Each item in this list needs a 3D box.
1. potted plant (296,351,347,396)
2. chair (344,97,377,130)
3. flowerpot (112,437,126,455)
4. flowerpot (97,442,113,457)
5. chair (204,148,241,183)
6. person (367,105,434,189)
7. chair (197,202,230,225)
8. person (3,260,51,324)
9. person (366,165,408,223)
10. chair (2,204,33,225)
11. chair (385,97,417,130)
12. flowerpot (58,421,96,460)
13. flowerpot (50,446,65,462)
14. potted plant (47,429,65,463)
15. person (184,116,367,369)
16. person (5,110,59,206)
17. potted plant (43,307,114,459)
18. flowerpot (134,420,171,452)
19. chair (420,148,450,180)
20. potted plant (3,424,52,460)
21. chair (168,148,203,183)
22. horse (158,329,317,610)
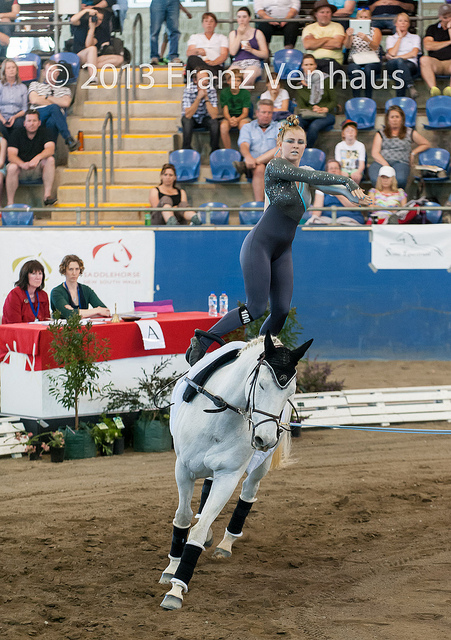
[{"bbox_3d":[1.176,0.697,12.831,0.572,0.302,0.551,9,-5,-17],"label":"potted plant"},{"bbox_3d":[2.282,-3.487,17.368,0.485,0.479,0.575,1,3,10],"label":"chair"},{"bbox_3d":[-1.145,1.361,11.027,0.171,0.185,0.067,-7,13,-44],"label":"flowerpot"},{"bbox_3d":[-1.282,1.387,10.958,0.158,0.123,0.136,0,3,-15],"label":"flowerpot"},{"bbox_3d":[-0.041,-2.496,16.791,0.584,0.474,0.571,1,2,11],"label":"chair"},{"bbox_3d":[2.680,-2.548,16.258,0.834,1.630,1.017,9,19,36],"label":"person"},{"bbox_3d":[-0.161,-1.672,15.650,0.371,0.391,0.467,2,-21,2],"label":"chair"},{"bbox_3d":[-2.198,-0.305,11.423,0.603,0.703,0.390,-4,10,-29],"label":"person"},{"bbox_3d":[2.435,-1.884,15.404,0.591,0.821,1.297,3,9,7],"label":"person"},{"bbox_3d":[-3.148,-1.598,15.658,0.465,0.266,0.431,0,-6,-3],"label":"chair"},{"bbox_3d":[2.994,-3.497,17.328,0.542,0.531,0.633,2,6,15],"label":"chair"},{"bbox_3d":[-1.542,1.270,10.725,0.357,0.335,0.367,1,1,3],"label":"flowerpot"},{"bbox_3d":[-1.736,1.383,10.604,0.141,0.163,0.138,0,9,-10],"label":"flowerpot"},{"bbox_3d":[-1.759,1.309,10.618,0.179,0.308,0.204,1,9,-2],"label":"potted plant"},{"bbox_3d":[0.232,-0.672,8.049,1.013,1.841,1.149,1,9,0],"label":"person"},{"bbox_3d":[-3.140,-2.616,16.524,0.817,1.517,0.947,-1,9,-12],"label":"person"},{"bbox_3d":[-1.573,0.686,10.890,0.576,1.519,0.749,3,9,8],"label":"potted plant"},{"bbox_3d":[-0.784,1.260,11.179,0.370,0.302,0.361,-2,-2,10],"label":"flowerpot"},{"bbox_3d":[3.309,-2.467,16.258,0.436,0.499,0.586,1,-2,11],"label":"chair"},{"bbox_3d":[-2.070,1.279,10.742,0.474,0.338,0.323,0,9,-11],"label":"potted plant"},{"bbox_3d":[-0.682,-2.504,16.991,0.617,0.539,0.644,2,4,3],"label":"chair"},{"bbox_3d":[0.018,0.960,7.258,0.948,1.942,1.772,1,9,-4],"label":"horse"}]
